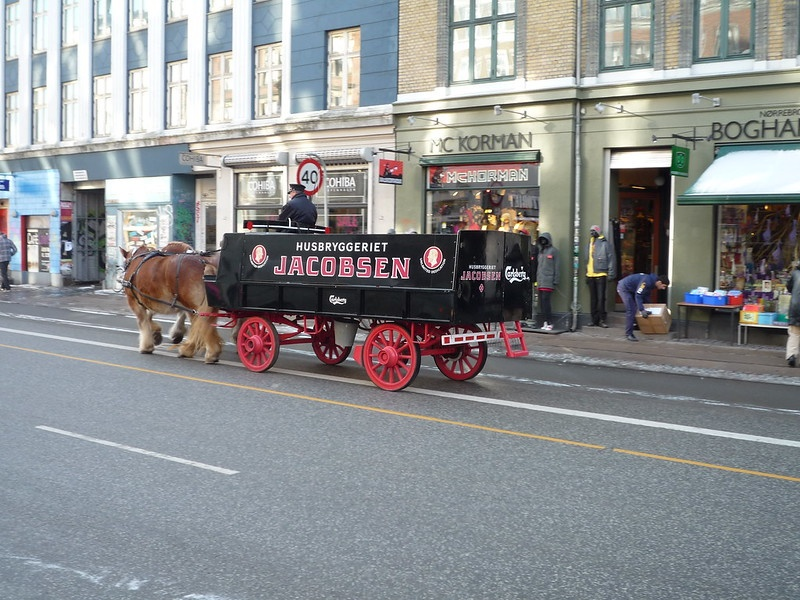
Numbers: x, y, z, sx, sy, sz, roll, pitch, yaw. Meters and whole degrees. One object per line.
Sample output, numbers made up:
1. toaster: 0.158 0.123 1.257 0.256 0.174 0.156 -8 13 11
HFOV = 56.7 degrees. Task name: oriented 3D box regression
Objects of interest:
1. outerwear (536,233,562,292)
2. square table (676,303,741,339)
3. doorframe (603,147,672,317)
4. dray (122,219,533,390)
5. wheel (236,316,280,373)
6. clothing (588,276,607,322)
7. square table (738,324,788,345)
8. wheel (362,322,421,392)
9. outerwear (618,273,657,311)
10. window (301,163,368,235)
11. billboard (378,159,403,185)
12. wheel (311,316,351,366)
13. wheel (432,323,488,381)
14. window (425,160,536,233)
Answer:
1. outerwear: 3.620 -0.960 18.188 0.558 1.406 0.384 4 7 21
2. square table: 7.055 0.563 16.634 1.139 0.773 1.561 -8 -6 20
3. doorframe: 6.240 -1.772 19.600 2.393 4.699 1.614 -1 -4 8
4. dray: -1.176 0.213 12.817 8.618 2.229 2.759 3 -5 43
5. wheel: -2.216 0.694 11.593 0.399 0.840 1.028 -6 3 -43
6. clothing: 4.710 -0.001 17.814 0.473 1.200 0.306 5 8 33
7. square table: 7.619 0.712 15.579 0.970 0.467 0.400 4 7 33
8. wheel: -0.126 0.793 10.496 0.361 0.998 1.214 -5 14 -43
9. outerwear: 5.231 -0.237 16.297 0.932 0.757 0.683 7 6 17
10. window: -1.922 -3.023 22.324 0.427 2.264 2.752 5 8 38
11. billboard: -0.257 -3.529 20.103 1.047 0.688 0.139 2 2 -24
12. wheel: -1.217 0.696 12.305 0.251 0.748 0.786 -6 -31 -17
13. wheel: 0.872 0.737 10.833 1.148 0.926 0.423 1 -2 42
14. window: 2.140 -2.708 19.408 3.946 2.024 0.187 -7 9 -30
